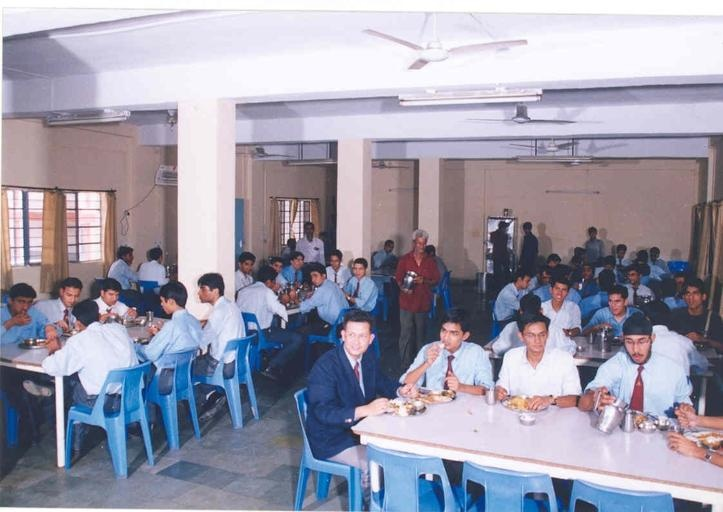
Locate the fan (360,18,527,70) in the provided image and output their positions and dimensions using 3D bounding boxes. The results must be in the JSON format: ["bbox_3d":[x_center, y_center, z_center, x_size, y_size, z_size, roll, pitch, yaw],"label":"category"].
[{"bbox_3d":[0.677,-1.864,5.671,1.226,0.457,1.129,0,3,-2],"label":"fan"}]

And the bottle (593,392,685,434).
[{"bbox_3d":[1.810,1.105,4.447,0.324,0.176,0.321,1,-1,0],"label":"bottle"}]

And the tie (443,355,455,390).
[{"bbox_3d":[0.673,0.890,5.056,0.047,0.321,0.039,3,-22,8],"label":"tie"}]

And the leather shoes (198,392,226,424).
[{"bbox_3d":[-1.485,1.497,6.519,0.152,0.125,0.367,-39,10,51],"label":"leather shoes"}]

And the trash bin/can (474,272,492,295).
[{"bbox_3d":[2.514,0.568,13.313,0.396,0.446,0.400,0,0,5],"label":"trash bin/can"}]

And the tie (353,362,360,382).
[{"bbox_3d":[-0.026,0.854,4.761,0.026,0.136,0.089,2,4,28],"label":"tie"}]

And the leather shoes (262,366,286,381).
[{"bbox_3d":[-0.981,1.310,7.206,0.192,0.075,0.149,2,7,9],"label":"leather shoes"}]

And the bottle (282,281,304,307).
[{"bbox_3d":[-0.858,0.487,8.194,0.207,0.283,0.120,-12,-26,25],"label":"bottle"}]

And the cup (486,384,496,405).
[{"bbox_3d":[0.953,1.034,4.771,0.072,0.111,0.118,0,4,8],"label":"cup"}]

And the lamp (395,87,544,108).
[{"bbox_3d":[1.012,-1.524,6.131,1.313,0.128,0.356,1,3,17],"label":"lamp"}]

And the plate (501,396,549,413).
[{"bbox_3d":[1.186,1.075,4.667,0.335,0.092,0.163,0,3,13],"label":"plate"}]

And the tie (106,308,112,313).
[{"bbox_3d":[-2.658,0.585,6.837,0.036,0.034,0.036,0,-3,10],"label":"tie"}]

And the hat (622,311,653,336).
[{"bbox_3d":[2.028,0.513,4.720,0.261,0.130,0.154,-3,4,-41],"label":"hat"}]

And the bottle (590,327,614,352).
[{"bbox_3d":[2.281,0.793,6.130,0.140,0.238,0.236,-2,3,-37],"label":"bottle"}]

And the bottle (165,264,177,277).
[{"bbox_3d":[-3.048,0.244,10.362,0.182,0.212,0.187,4,4,37],"label":"bottle"}]

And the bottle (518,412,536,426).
[{"bbox_3d":[1.152,1.136,4.501,0.120,0.063,0.101,1,3,15],"label":"bottle"}]

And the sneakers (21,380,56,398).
[{"bbox_3d":[-2.904,1.212,5.826,0.221,0.143,0.094,16,6,-9],"label":"sneakers"}]

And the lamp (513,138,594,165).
[{"bbox_3d":[3.161,-1.723,10.477,1.033,0.466,2.179,1,3,18],"label":"lamp"}]
